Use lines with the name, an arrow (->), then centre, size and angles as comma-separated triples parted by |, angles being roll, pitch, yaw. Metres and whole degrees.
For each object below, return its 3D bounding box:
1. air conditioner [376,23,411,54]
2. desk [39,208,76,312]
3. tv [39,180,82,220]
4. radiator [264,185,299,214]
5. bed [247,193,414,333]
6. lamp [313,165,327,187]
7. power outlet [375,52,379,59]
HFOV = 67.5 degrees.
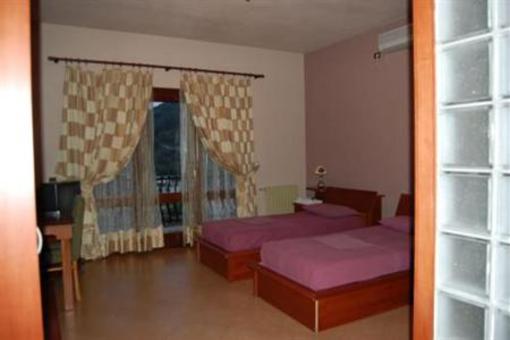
air conditioner -> 1.944, -1.794, 5.167 | 0.176, 0.258, 0.548 | -10, 4, -35
desk -> -2.092, 0.996, 4.104 | 0.295, 0.936, 0.635 | -4, 7, -30
tv -> -2.460, 0.534, 4.867 | 0.376, 0.544, 0.711 | -2, 5, -19
radiator -> 0.463, 0.551, 7.037 | 0.502, 0.484, 0.071 | -1, 1, -25
bed -> 0.997, 0.966, 4.052 | 1.520, 0.794, 0.886 | -1, 2, -32
lamp -> 1.165, 0.113, 6.743 | 0.208, 0.394, 0.642 | 1, 6, 11
power outlet -> 1.853, -1.750, 5.792 | 0.021, 0.074, 0.070 | -7, 13, -32
